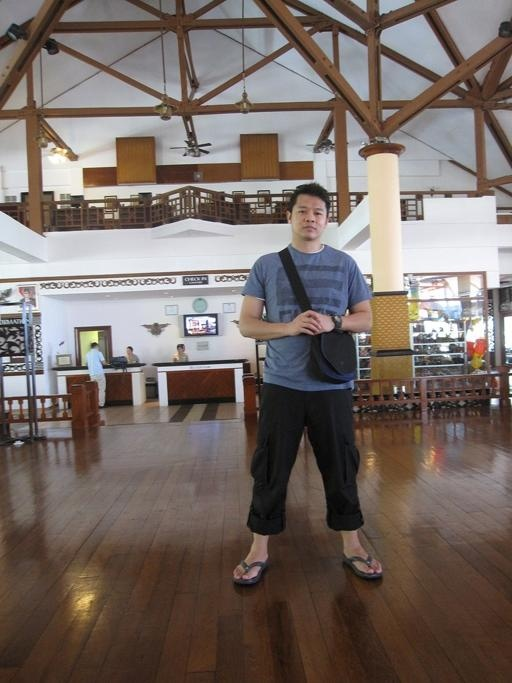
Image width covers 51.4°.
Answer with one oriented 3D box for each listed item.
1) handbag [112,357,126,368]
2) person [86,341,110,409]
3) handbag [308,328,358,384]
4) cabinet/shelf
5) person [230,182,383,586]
[{"bbox_3d":[-2.743,0.408,10.670,0.242,0.233,0.094,0,-3,-3],"label":"handbag"},{"bbox_3d":[-3.039,0.622,10.096,0.337,1.156,2.032,-3,0,-17],"label":"person"},{"bbox_3d":[0.275,0.053,1.971,0.164,0.202,0.112,10,-23,-27],"label":"handbag"},{"bbox_3d":[2.246,0.154,7.359,1.081,0.941,0.366,-1,-8,-5],"label":"cabinet/shelf"},{"bbox_3d":[0.169,0.148,2.104,0.610,1.535,0.390,-3,0,8],"label":"person"}]
